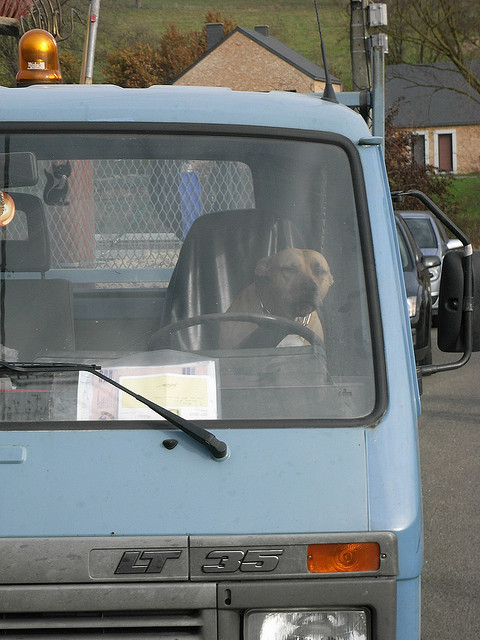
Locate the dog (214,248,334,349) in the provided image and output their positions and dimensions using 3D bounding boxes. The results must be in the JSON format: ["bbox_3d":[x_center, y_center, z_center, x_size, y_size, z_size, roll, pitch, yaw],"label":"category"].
[{"bbox_3d":[0.112,-0.053,2.637,0.175,0.296,0.325,12,-4,-24],"label":"dog"}]

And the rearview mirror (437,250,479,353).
[{"bbox_3d":[0.577,-0.052,2.782,0.110,0.268,0.146,2,7,10],"label":"rearview mirror"}]
